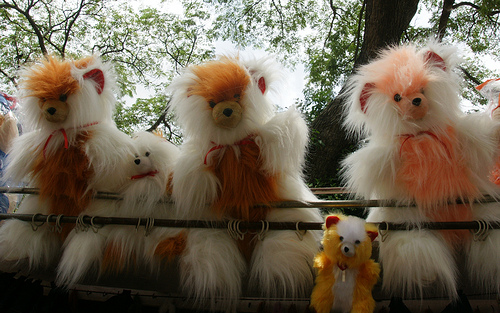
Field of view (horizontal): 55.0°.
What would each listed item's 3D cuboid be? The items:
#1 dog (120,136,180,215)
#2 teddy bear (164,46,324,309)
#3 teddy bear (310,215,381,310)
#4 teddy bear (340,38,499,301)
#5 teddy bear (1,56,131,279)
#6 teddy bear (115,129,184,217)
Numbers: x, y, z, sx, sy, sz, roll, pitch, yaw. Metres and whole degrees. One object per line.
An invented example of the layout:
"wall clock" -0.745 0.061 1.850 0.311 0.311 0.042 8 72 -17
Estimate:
"dog" -0.814 0.138 4.134 0.645 0.614 0.839 -2 -4 3
"teddy bear" -0.056 0.143 4.219 1.536 1.798 1.845 1 0 0
"teddy bear" 0.689 0.779 3.416 0.577 0.720 0.431 4 -17 4
"teddy bear" 1.314 0.025 3.615 1.180 2.030 0.512 2 -22 4
"teddy bear" -1.456 0.041 3.784 1.019 1.765 0.490 3 -22 3
"teddy bear" -0.743 0.123 3.858 0.486 0.611 0.490 -4 6 -3
